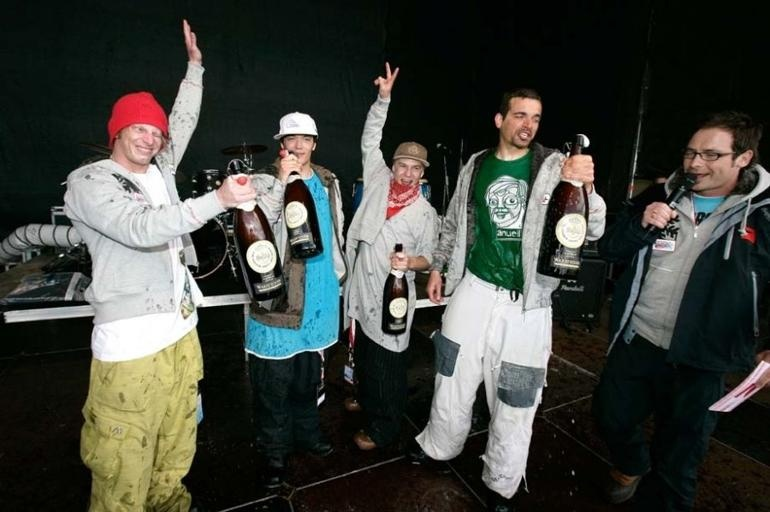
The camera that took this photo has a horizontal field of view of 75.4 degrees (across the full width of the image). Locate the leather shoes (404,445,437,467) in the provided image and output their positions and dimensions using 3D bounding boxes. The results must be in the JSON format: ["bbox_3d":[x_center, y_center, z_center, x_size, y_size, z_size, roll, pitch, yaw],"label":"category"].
[{"bbox_3d":[0.264,1.470,3.715,0.134,0.076,0.174,34,-10,-36],"label":"leather shoes"}]

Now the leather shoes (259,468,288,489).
[{"bbox_3d":[-0.790,1.565,3.532,0.132,0.150,0.154,2,8,-9],"label":"leather shoes"}]

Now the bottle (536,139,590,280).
[{"bbox_3d":[1.102,-0.287,3.055,0.275,0.889,0.327,6,19,23],"label":"bottle"}]

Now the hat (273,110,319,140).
[{"bbox_3d":[-0.614,-0.886,3.363,0.281,0.170,0.228,16,24,27],"label":"hat"}]

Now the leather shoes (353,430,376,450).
[{"bbox_3d":[-0.161,1.413,3.847,0.172,0.107,0.070,3,14,25],"label":"leather shoes"}]

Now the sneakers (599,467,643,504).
[{"bbox_3d":[1.676,1.634,3.582,0.139,0.328,0.153,22,5,-7],"label":"sneakers"}]

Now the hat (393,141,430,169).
[{"bbox_3d":[0.197,-0.801,3.836,0.201,0.134,0.271,18,-1,-5],"label":"hat"}]

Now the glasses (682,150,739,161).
[{"bbox_3d":[2.050,-0.638,3.165,0.257,0.074,0.056,4,19,16],"label":"glasses"}]

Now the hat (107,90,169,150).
[{"bbox_3d":[-1.481,-0.846,3.053,0.299,0.368,0.355,-8,8,-20],"label":"hat"}]

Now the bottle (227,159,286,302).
[{"bbox_3d":[-0.778,-0.101,3.007,0.251,0.960,0.384,-7,19,-17],"label":"bottle"}]
